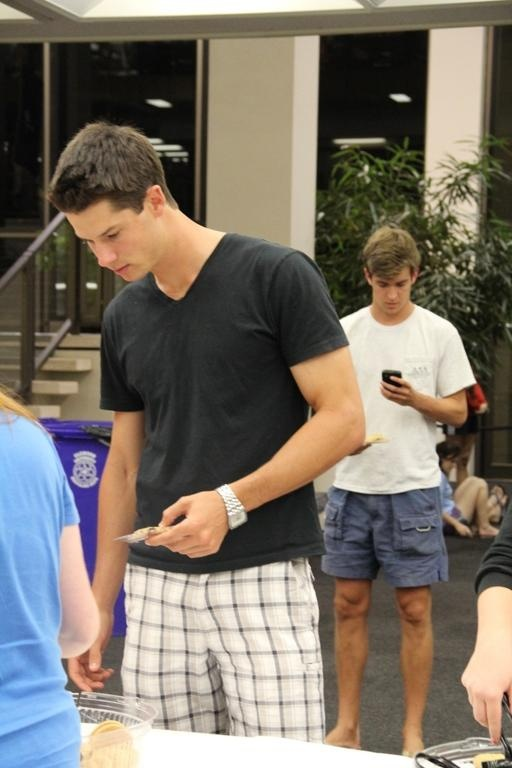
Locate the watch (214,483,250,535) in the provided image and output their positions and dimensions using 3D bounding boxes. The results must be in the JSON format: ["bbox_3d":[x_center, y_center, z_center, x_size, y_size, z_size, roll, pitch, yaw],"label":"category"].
[{"bbox_3d":[-0.038,0.207,1.321,0.056,0.078,0.075,-23,43,-17],"label":"watch"}]

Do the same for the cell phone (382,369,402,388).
[{"bbox_3d":[0.510,-0.025,2.845,0.069,0.053,0.102,3,6,5],"label":"cell phone"}]

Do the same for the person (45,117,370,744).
[{"bbox_3d":[-0.099,0.144,1.437,0.590,1.255,0.512,4,7,8],"label":"person"}]
